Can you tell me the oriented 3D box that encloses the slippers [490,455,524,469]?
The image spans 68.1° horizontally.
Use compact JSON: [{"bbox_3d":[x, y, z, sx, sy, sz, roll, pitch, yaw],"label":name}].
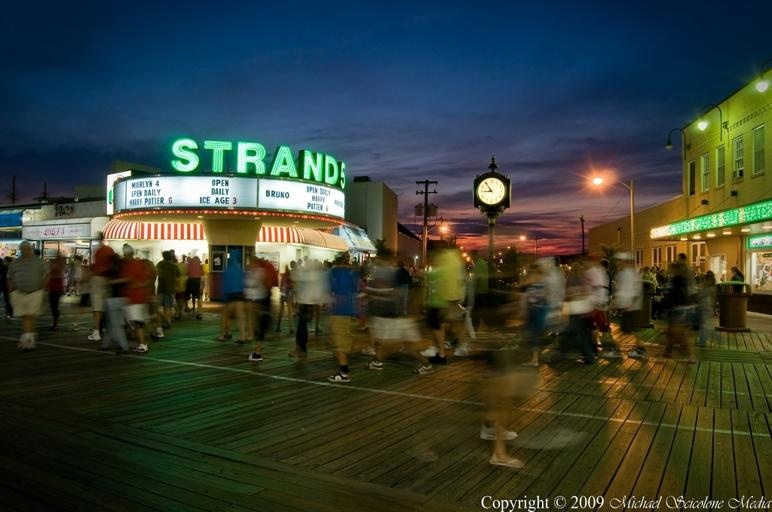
[{"bbox_3d":[1.703,2.867,8.107,0.484,0.158,0.162,-3,0,13],"label":"slippers"}]
